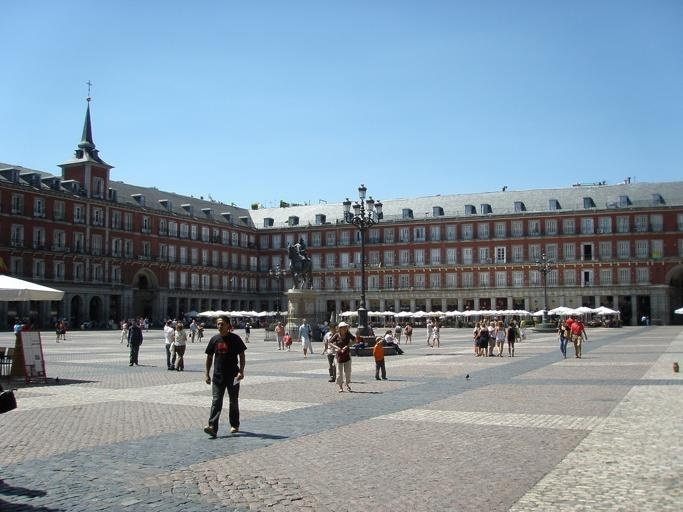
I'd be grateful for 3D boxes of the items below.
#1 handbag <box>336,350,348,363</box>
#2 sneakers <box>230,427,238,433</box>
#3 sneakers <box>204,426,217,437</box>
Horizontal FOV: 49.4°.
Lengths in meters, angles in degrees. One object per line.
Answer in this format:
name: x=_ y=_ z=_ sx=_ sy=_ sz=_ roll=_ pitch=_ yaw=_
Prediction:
handbag: x=0.034 y=2.316 z=16.988 sx=0.277 sy=0.264 sz=0.197 roll=13 pitch=-17 yaw=-31
sneakers: x=-1.767 y=2.875 z=12.256 sx=0.143 sy=0.090 sz=0.217 roll=-2 pitch=-5 yaw=-9
sneakers: x=-2.090 y=2.812 z=11.850 sx=0.108 sy=0.110 sz=0.262 roll=-9 pitch=-43 yaw=9
